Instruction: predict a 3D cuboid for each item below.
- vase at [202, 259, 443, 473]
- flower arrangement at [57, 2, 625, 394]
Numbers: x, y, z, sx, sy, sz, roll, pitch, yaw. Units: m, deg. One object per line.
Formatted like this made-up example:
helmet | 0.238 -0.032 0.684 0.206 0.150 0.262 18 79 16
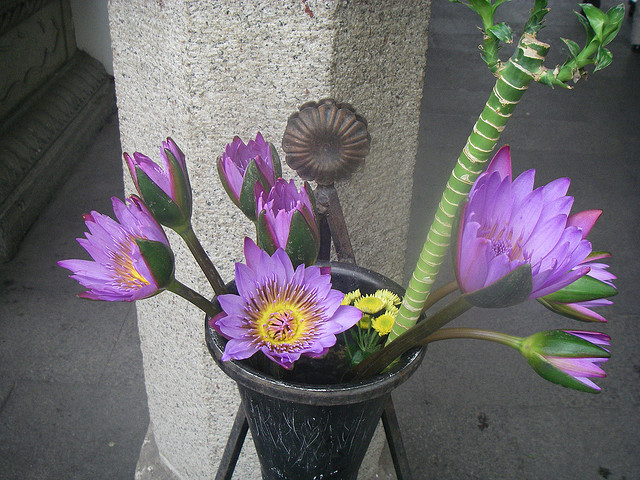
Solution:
vase | 0.004 0.215 0.743 0.295 0.256 0.300 2 25 4
flower arrangement | 0.027 0.011 0.805 0.652 0.387 0.666 7 -19 1
